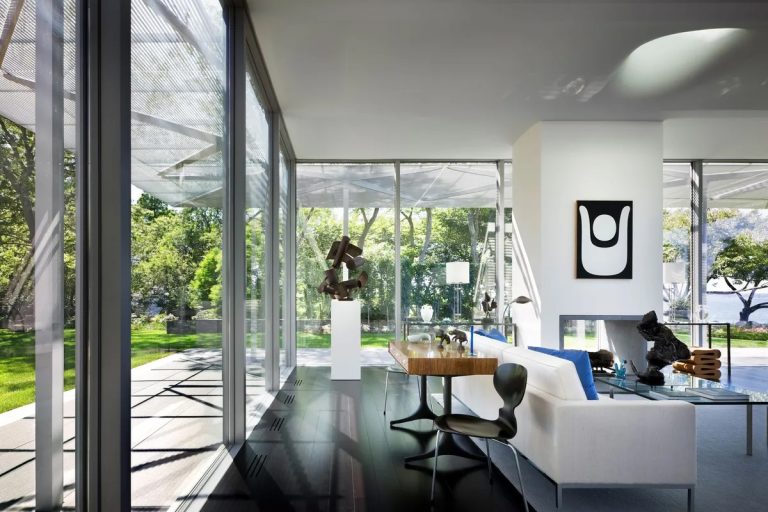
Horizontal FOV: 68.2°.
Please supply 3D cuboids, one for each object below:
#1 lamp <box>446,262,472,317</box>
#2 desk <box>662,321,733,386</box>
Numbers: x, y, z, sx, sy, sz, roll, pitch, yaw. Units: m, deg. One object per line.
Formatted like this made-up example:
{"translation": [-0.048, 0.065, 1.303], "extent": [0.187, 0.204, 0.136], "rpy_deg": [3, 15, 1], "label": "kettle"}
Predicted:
{"translation": [1.155, 0.536, 8.954], "extent": [0.387, 0.891, 0.422], "rpy_deg": [2, 8, 7], "label": "lamp"}
{"translation": [4.776, 1.248, 8.865], "extent": [0.855, 1.077, 1.137], "rpy_deg": [-3, 20, 21], "label": "desk"}
